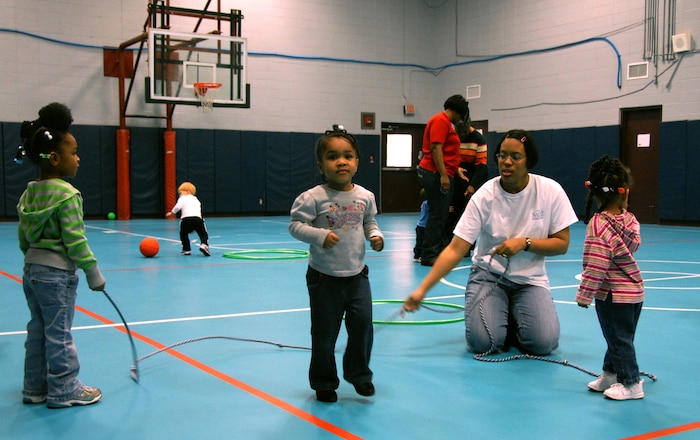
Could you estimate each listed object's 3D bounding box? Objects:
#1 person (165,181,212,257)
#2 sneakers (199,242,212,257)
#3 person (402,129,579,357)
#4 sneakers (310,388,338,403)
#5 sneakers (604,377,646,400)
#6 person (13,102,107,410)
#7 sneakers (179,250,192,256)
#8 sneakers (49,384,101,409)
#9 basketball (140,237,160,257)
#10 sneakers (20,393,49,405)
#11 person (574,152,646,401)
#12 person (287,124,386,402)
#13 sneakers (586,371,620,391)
[{"bbox_3d":[-2.963,-0.061,9.150,0.666,1.248,1.739,-2,6,-17],"label":"person"},{"bbox_3d":[-2.544,0.533,8.688,0.145,0.135,0.305,4,-32,-2],"label":"sneakers"},{"bbox_3d":[1.142,0.175,3.905,1.172,1.763,0.639,-3,6,-25],"label":"person"},{"bbox_3d":[-0.157,1.095,3.122,0.173,0.112,0.057,-1,3,5],"label":"sneakers"},{"bbox_3d":[1.733,1.074,3.188,0.272,0.124,0.102,0,-3,-3],"label":"sneakers"},{"bbox_3d":[-1.860,0.192,3.135,0.656,1.888,0.384,2,6,23],"label":"person"},{"bbox_3d":[-2.917,0.571,8.727,0.185,0.083,0.084,8,10,31],"label":"sneakers"},{"bbox_3d":[-1.695,1.105,3.083,0.309,0.135,0.115,-4,4,-21],"label":"sneakers"},{"bbox_3d":[-3.409,0.455,8.407,0.262,0.309,0.393,-2,6,-18],"label":"basketball"},{"bbox_3d":[-1.982,1.113,3.114,0.138,0.057,0.057,1,0,-8],"label":"sneakers"},{"bbox_3d":[1.694,0.352,3.181,0.405,1.530,0.430,3,7,28],"label":"person"},{"bbox_3d":[-0.092,0.256,3.212,0.594,1.727,0.371,-1,6,-7],"label":"person"},{"bbox_3d":[1.668,1.048,3.254,0.216,0.092,0.077,-1,2,-20],"label":"sneakers"}]
